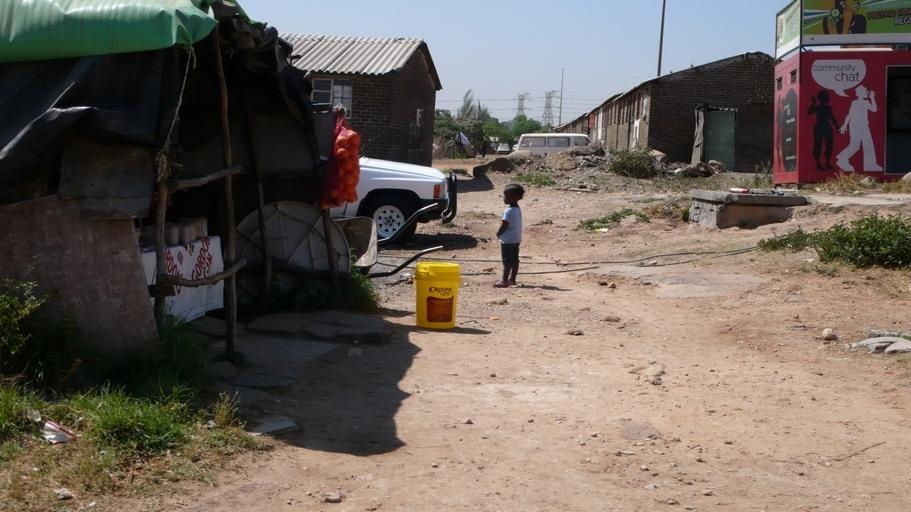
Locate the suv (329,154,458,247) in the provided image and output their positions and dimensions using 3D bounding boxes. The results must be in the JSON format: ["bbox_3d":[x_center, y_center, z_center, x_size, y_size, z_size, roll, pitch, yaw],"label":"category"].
[{"bbox_3d":[-1.132,-1.179,14.050,2.218,1.557,1.285,2,10,4],"label":"suv"}]

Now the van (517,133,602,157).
[{"bbox_3d":[5.639,-6.537,37.974,4.365,1.522,2.001,-1,8,0],"label":"van"}]

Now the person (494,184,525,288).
[{"bbox_3d":[0.845,-0.360,11.465,0.675,1.654,0.621,1,-3,11],"label":"person"}]
